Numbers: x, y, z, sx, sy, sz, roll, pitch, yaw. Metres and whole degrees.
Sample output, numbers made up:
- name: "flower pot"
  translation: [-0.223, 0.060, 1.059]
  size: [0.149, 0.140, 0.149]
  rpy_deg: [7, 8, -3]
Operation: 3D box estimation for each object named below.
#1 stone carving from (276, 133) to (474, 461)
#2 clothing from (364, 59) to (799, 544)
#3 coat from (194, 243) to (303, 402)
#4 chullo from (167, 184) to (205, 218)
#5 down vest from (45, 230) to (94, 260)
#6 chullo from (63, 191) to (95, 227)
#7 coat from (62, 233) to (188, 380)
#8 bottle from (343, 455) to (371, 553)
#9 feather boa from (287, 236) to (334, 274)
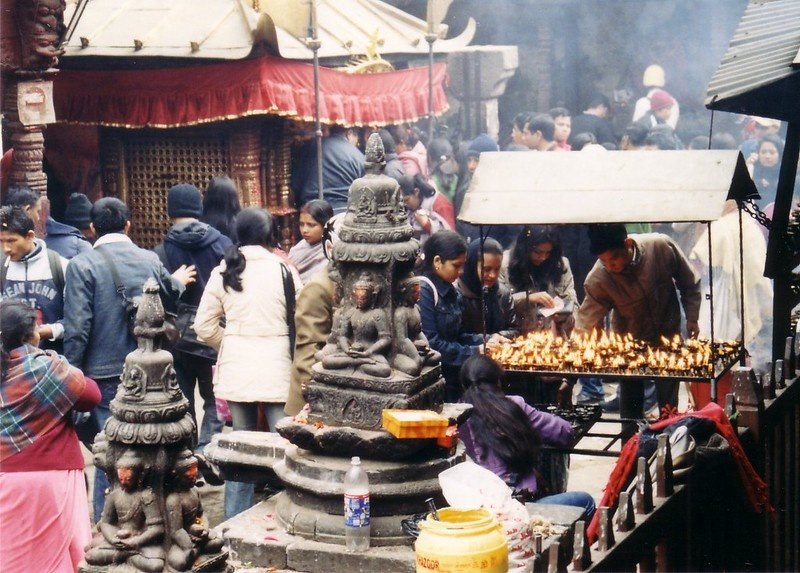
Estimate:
- name: "stone carving"
  translation: [-0.181, 0.072, 9.924]
  size: [1.327, 2.392, 1.402]
  rpy_deg: [-2, 5, -41]
- name: "clothing"
  translation: [1.777, 0.573, 12.430]
  size: [3.381, 4.388, 2.382]
  rpy_deg: [5, 19, 25]
- name: "coat"
  translation: [-1.200, 0.470, 11.300]
  size: [0.849, 1.937, 0.682]
  rpy_deg: [-4, 14, -16]
- name: "chullo"
  translation: [-1.860, -0.725, 12.030]
  size: [0.281, 0.342, 0.398]
  rpy_deg: [-5, 0, -1]
- name: "down vest"
  translation: [-2.858, -0.351, 11.938]
  size: [0.250, 0.147, 0.242]
  rpy_deg: [-15, 33, -29]
- name: "chullo"
  translation: [-2.922, -0.727, 12.847]
  size: [0.323, 0.341, 0.286]
  rpy_deg: [14, 20, 35]
- name: "coat"
  translation: [-2.256, 0.193, 11.334]
  size: [0.999, 1.198, 0.608]
  rpy_deg: [-3, -6, -26]
- name: "bottle"
  translation: [-0.293, 1.446, 9.378]
  size: [0.212, 0.619, 0.209]
  rpy_deg: [-1, 6, 0]
- name: "feather boa"
  translation: [-0.746, -0.261, 11.677]
  size: [0.276, 0.292, 0.160]
  rpy_deg: [13, -13, 4]
